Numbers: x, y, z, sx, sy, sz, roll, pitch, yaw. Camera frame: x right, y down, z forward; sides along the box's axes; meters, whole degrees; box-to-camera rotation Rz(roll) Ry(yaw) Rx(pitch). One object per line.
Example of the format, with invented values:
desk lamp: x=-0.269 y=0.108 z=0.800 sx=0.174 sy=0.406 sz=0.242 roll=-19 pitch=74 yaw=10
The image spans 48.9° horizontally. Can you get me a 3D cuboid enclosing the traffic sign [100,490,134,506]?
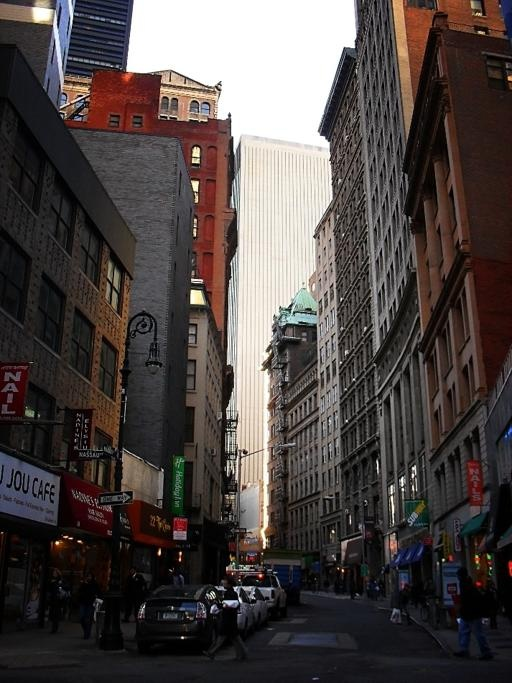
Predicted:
traffic sign: x=-2.894 y=3.242 z=11.644 sx=0.930 sy=0.296 sz=0.345 roll=-22 pitch=-30 yaw=38

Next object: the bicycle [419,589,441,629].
bicycle: x=6.893 y=10.776 z=22.740 sx=0.576 sy=0.969 sz=11.502 roll=-6 pitch=-25 yaw=13

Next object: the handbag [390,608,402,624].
handbag: x=5.190 y=10.285 z=21.087 sx=0.326 sy=0.527 sz=0.793 roll=-5 pitch=-23 yaw=10

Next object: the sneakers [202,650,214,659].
sneakers: x=-0.781 y=5.200 z=9.337 sx=0.129 sy=0.121 sz=0.530 roll=2 pitch=-25 yaw=-8

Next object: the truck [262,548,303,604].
truck: x=1.760 y=15.757 z=37.815 sx=2.605 sy=3.801 sz=5.716 roll=-1 pitch=-24 yaw=1

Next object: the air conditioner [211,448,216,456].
air conditioner: x=-4.120 y=10.607 z=53.861 sx=0.340 sy=0.756 sz=0.780 roll=0 pitch=-14 yaw=2
